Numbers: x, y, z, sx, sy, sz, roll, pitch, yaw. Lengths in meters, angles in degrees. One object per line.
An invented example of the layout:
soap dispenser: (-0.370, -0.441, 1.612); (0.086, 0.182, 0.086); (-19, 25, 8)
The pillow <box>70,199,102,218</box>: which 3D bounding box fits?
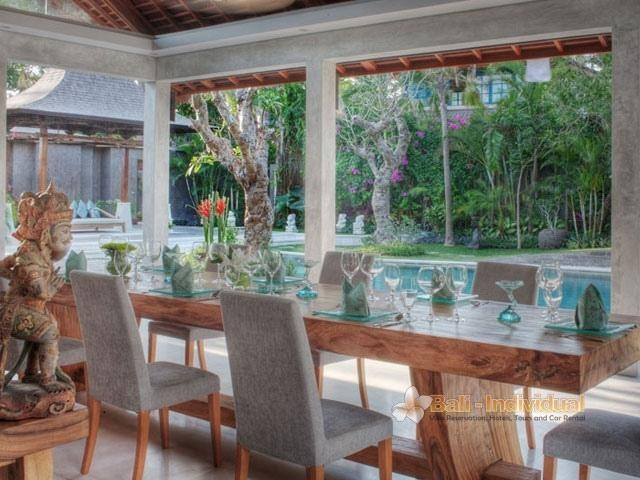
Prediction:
pillow: (-4.728, -0.615, 9.901); (0.574, 0.360, 0.305); (-2, 4, -11)
